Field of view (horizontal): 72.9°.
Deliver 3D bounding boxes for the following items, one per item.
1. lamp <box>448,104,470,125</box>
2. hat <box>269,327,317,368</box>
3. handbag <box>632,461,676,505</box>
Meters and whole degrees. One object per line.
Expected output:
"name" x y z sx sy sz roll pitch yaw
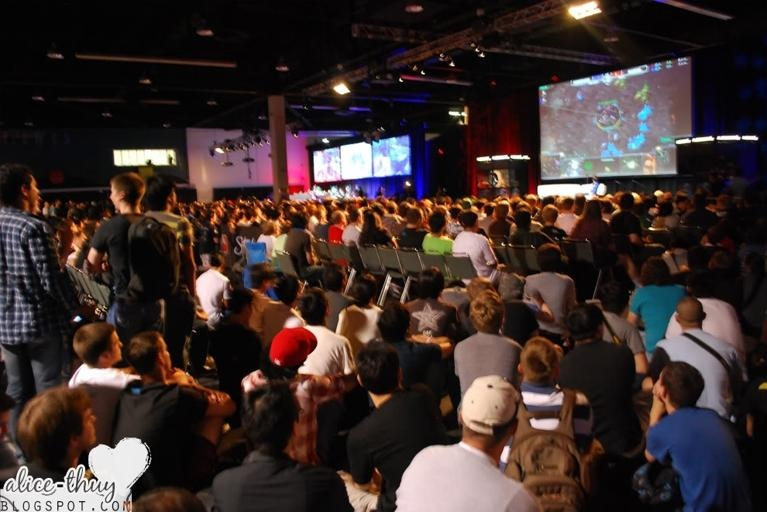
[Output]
"lamp" 2.993 -5.713 20.764 0.830 0.882 0.205 4 -13 5
"hat" -0.594 0.596 3.415 0.198 0.172 0.300 25 31 6
"handbag" 1.791 1.448 3.358 0.301 0.130 0.268 -20 1 -25
